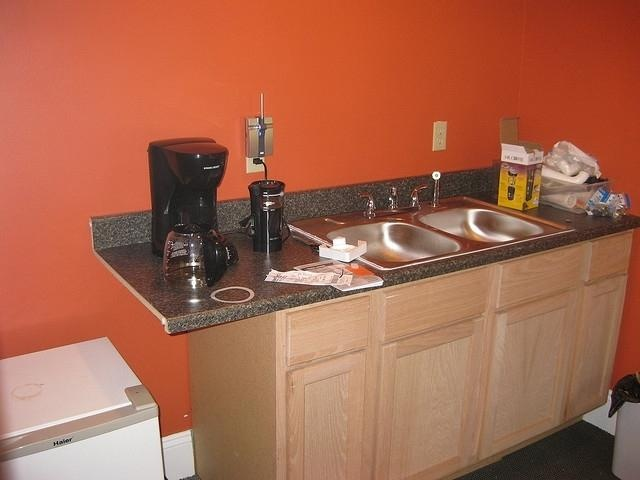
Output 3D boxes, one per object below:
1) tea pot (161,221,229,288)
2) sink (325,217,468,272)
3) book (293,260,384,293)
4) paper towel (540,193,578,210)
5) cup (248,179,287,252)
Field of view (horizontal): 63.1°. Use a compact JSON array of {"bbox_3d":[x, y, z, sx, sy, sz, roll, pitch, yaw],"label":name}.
[{"bbox_3d":[-0.400,0.058,1.656,0.161,0.178,0.232,6,2,45],"label":"tea pot"},{"bbox_3d":[0.360,0.019,2.162,0.272,0.106,0.303,-16,24,-34],"label":"sink"},{"bbox_3d":[0.091,0.109,1.754,0.149,0.011,0.150,-12,21,-39],"label":"book"},{"bbox_3d":[1.130,-0.185,2.510,0.067,0.072,0.191,24,-6,-27],"label":"paper towel"},{"bbox_3d":[-0.189,-0.081,1.907,0.121,0.244,0.084,-6,20,-15],"label":"cup"}]
